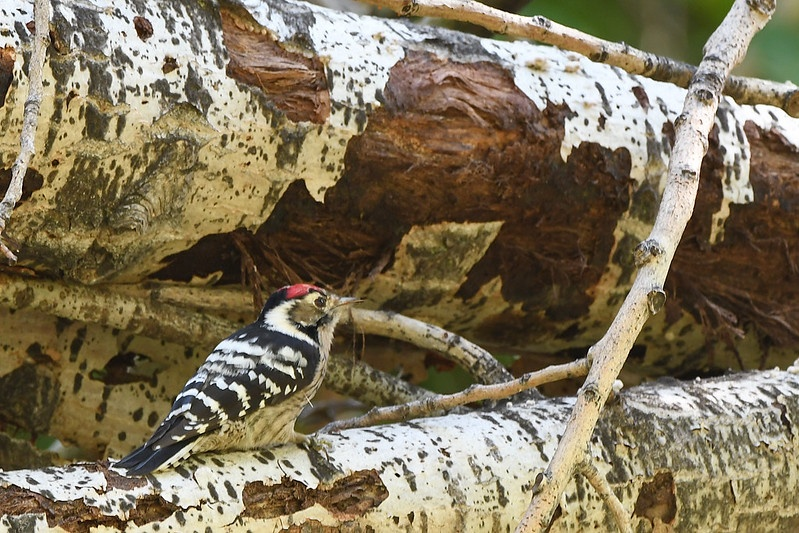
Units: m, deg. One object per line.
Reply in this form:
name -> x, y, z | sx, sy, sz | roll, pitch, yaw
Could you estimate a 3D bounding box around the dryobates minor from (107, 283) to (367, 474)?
dryobates minor -> -0.679, 0.496, 7.950 | 1.241, 0.810, 0.455 | -8, 5, -34
